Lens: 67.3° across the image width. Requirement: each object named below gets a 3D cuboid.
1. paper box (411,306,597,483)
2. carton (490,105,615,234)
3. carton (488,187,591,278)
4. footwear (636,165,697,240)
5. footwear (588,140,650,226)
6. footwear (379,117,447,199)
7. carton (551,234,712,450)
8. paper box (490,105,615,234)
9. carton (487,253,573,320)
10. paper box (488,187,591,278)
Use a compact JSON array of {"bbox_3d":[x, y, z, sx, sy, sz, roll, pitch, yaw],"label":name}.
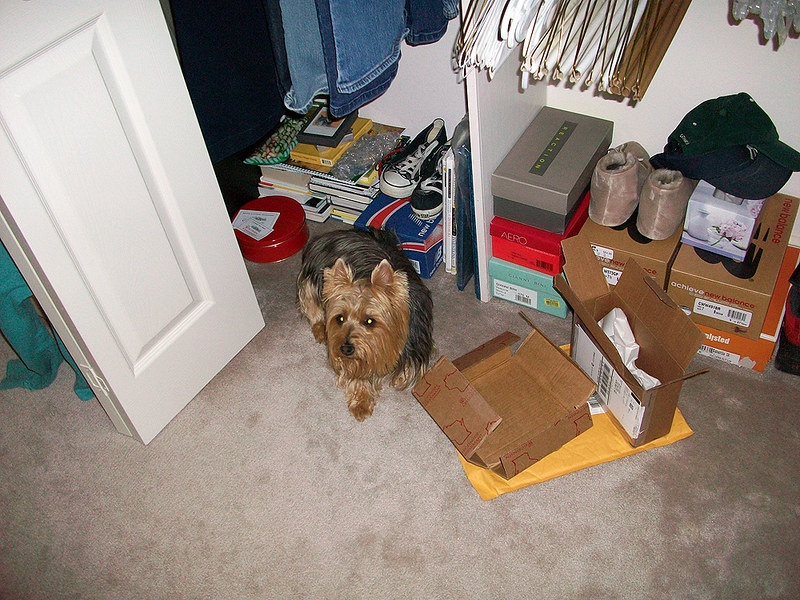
[{"bbox_3d":[0.471,0.495,2.740,0.722,0.272,0.733,-28,57,-20],"label":"paper box"},{"bbox_3d":[0.735,-0.685,2.924,0.419,0.289,0.726,19,52,24],"label":"carton"},{"bbox_3d":[0.676,-0.345,3.000,0.525,0.264,0.395,19,74,24],"label":"carton"},{"bbox_3d":[1.202,-0.432,2.769,0.183,0.232,0.377,14,61,26],"label":"footwear"},{"bbox_3d":[1.065,-0.581,2.901,0.201,0.191,0.473,11,55,29],"label":"footwear"},{"bbox_3d":[0.076,-0.803,3.507,0.219,0.239,0.604,34,62,11],"label":"footwear"},{"bbox_3d":[1.033,0.197,2.645,0.357,0.529,0.781,-20,59,-4],"label":"carton"},{"bbox_3d":[0.724,-0.647,2.897,0.419,0.289,0.726,19,52,24],"label":"paper box"},{"bbox_3d":[0.671,-0.054,3.129,0.337,0.218,0.345,18,40,21],"label":"carton"},{"bbox_3d":[0.664,-0.306,2.996,0.525,0.264,0.395,19,74,24],"label":"paper box"}]
